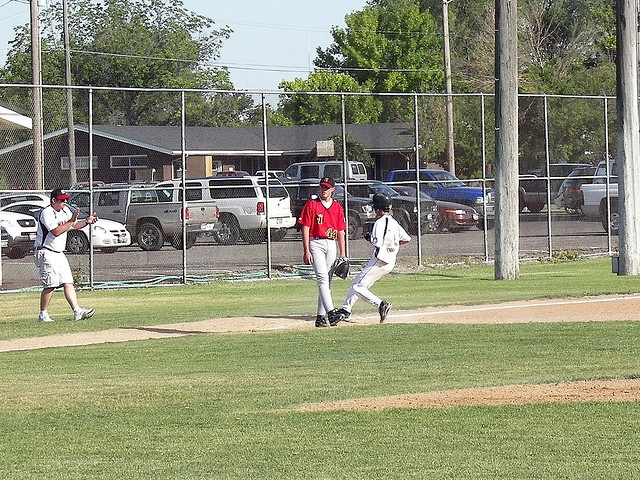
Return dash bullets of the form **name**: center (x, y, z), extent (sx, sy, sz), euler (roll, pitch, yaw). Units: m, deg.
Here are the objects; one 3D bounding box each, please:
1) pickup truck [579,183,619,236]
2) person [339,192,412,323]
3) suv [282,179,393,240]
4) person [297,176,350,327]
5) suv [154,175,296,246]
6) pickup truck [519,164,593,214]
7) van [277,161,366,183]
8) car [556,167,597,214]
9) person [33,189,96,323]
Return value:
- **pickup truck**: center (9.046, -0.923, 40.290), extent (1.149, 1.813, 6.234), euler (1, 7, 12)
- **person**: center (1.091, 0.374, 22.944), extent (1.268, 2.437, 0.953), euler (8, -1, -6)
- **suv**: center (-0.112, -1.045, 39.795), extent (3.230, 1.969, 2.949), euler (-7, 10, -37)
- **person**: center (0.070, 0.239, 22.781), extent (0.796, 2.686, 0.818), euler (0, 7, 0)
- **suv**: center (-3.355, -0.850, 39.704), extent (5.039, 1.903, 2.632), euler (-1, 4, 30)
- **pickup truck**: center (9.161, -1.927, 47.945), extent (2.627, 2.317, 2.389), euler (-6, 7, -27)
- **van**: center (-0.124, -2.518, 45.237), extent (2.475, 1.216, 1.699), euler (2, 4, 22)
- **car**: center (9.534, -1.818, 46.003), extent (1.320, 2.021, 1.292), euler (-5, 10, -22)
- **person**: center (-4.868, 0.332, 24.217), extent (1.357, 2.570, 1.094), euler (1, 2, -3)
